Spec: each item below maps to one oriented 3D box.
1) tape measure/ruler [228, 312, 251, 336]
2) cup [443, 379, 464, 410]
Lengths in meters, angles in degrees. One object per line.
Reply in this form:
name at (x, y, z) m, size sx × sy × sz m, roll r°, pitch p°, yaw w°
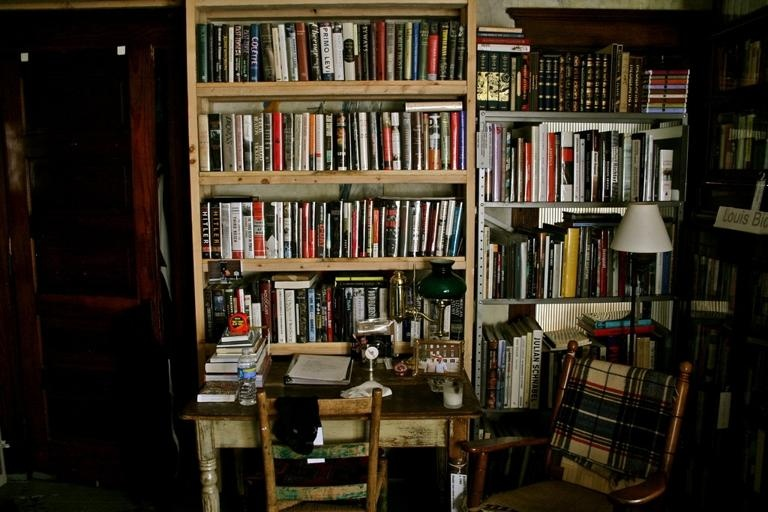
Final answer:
tape measure/ruler at (-0.792, 0.369, 3.956) m, size 0.121 × 0.112 × 0.070 m, roll -2°, pitch 7°, yaw -17°
cup at (0.356, 0.714, 3.783) m, size 0.140 × 0.132 × 0.132 m, roll -1°, pitch 7°, yaw 0°
